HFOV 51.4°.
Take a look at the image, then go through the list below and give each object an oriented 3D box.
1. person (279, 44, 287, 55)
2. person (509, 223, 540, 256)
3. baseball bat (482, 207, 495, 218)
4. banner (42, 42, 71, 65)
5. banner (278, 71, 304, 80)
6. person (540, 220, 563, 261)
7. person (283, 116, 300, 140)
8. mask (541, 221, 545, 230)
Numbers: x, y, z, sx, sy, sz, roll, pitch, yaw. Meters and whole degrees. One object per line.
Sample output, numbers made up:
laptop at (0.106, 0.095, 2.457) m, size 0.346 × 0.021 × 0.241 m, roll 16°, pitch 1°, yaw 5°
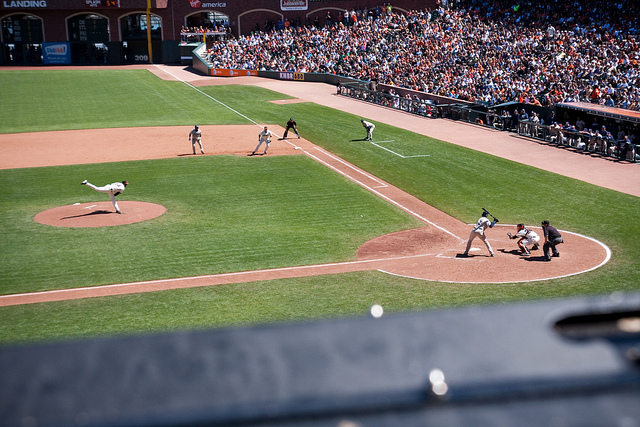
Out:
person at (-4.196, -18.366, 74.408) m, size 1.165 × 0.909 × 0.282 m, roll 8°, pitch -11°, yaw 42°
person at (6.357, 0.750, 20.737) m, size 1.077 × 0.859 × 0.773 m, roll -9°, pitch 13°, yaw -21°
baseball bat at (5.811, -0.048, 22.964) m, size 0.647 × 0.067 × 0.091 m, roll 30°, pitch 2°, yaw -1°
banner at (-34.165, -20.872, 85.770) m, size 4.282 × 3.103 × 0.502 m, roll 0°, pitch 34°, yaw -2°
banner at (-2.989, -14.437, 69.372) m, size 3.309 × 0.928 × 0.148 m, roll 16°, pitch 23°, yaw 34°
person at (7.017, 0.740, 20.124) m, size 0.687 × 1.179 × 1.136 m, roll 13°, pitch 20°, yaw 21°
person at (-1.618, -4.953, 38.235) m, size 0.909 × 1.286 × 2.557 m, roll 4°, pitch 17°, yaw -4°
mask at (6.624, 0.320, 19.735) m, size 0.054 × 0.190 × 0.107 m, roll 4°, pitch 20°, yaw -6°
